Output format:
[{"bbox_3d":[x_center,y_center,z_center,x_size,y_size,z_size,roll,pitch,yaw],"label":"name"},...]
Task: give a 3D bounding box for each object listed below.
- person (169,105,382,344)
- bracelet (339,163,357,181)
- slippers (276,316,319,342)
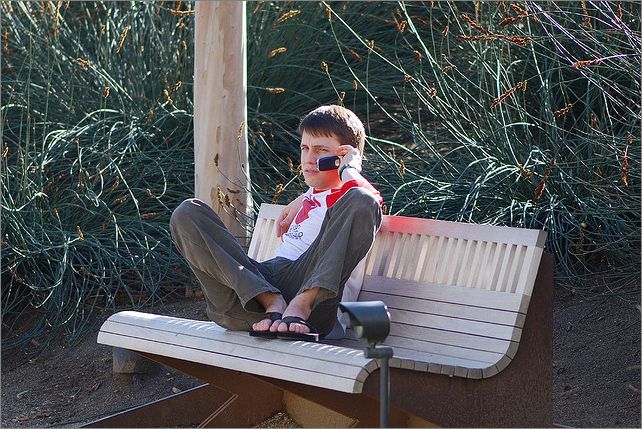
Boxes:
[{"bbox_3d":[-0.170,-0.031,3.453,1.052,1.325,1.009,0,-13,25],"label":"person"},{"bbox_3d":[0.139,-0.227,3.452,0.022,0.079,0.080,18,11,-46],"label":"bracelet"},{"bbox_3d":[-0.107,0.524,3.030,0.186,0.073,0.152,-2,18,0],"label":"slippers"}]
